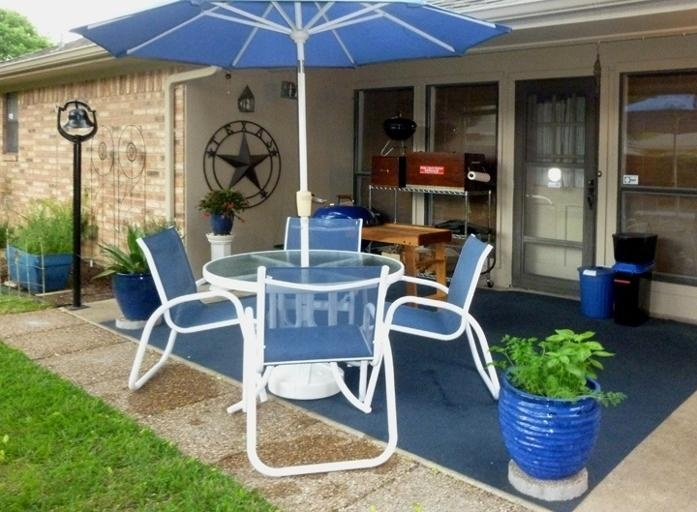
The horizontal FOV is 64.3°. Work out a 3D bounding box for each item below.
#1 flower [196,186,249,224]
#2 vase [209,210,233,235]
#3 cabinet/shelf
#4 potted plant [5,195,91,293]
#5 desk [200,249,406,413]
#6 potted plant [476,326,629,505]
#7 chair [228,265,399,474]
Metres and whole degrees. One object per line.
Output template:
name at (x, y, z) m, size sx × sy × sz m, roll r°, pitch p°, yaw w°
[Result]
flower at (-1.546, -0.635, 6.617) m, size 0.471 × 0.271 × 0.434 m, roll -4°, pitch 10°, yaw -35°
vase at (-1.517, -0.392, 6.546) m, size 0.248 × 0.210 × 0.265 m, roll -1°, pitch -2°, yaw -9°
cabinet/shelf at (0.959, -0.225, 6.109) m, size 0.459 × 0.992 × 1.282 m, roll -15°, pitch 19°, yaw -43°
potted plant at (-3.734, -0.125, 6.911) m, size 1.300 × 1.460 × 0.914 m, roll -3°, pitch -5°, yaw 43°
desk at (-0.457, 0.479, 3.978) m, size 1.178 × 0.772 × 1.172 m, roll 0°, pitch 13°, yaw -1°
potted plant at (1.029, 0.799, 2.952) m, size 0.501 × 0.832 × 0.559 m, roll 0°, pitch 11°, yaw -33°
chair at (-0.181, 0.649, 3.447) m, size 1.075 × 1.392 × 1.072 m, roll -2°, pitch 10°, yaw -9°
